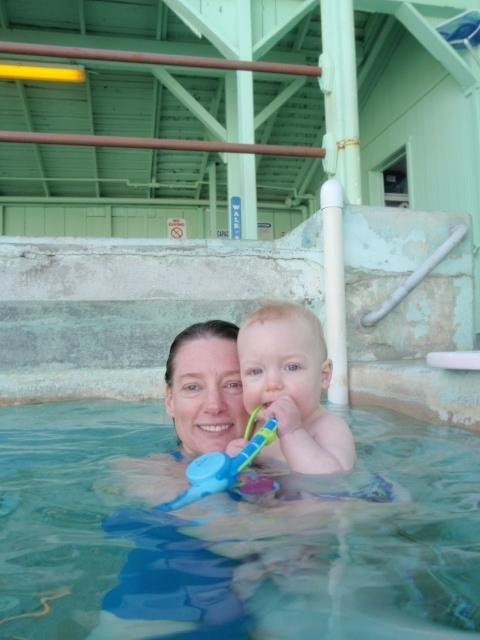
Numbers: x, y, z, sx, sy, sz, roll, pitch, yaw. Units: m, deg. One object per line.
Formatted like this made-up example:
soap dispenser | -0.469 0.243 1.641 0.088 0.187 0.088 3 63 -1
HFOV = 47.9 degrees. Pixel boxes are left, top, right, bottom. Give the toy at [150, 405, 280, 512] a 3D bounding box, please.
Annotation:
toy | -0.043 0.282 1.125 0.209 0.047 0.132 -30 5 -25
